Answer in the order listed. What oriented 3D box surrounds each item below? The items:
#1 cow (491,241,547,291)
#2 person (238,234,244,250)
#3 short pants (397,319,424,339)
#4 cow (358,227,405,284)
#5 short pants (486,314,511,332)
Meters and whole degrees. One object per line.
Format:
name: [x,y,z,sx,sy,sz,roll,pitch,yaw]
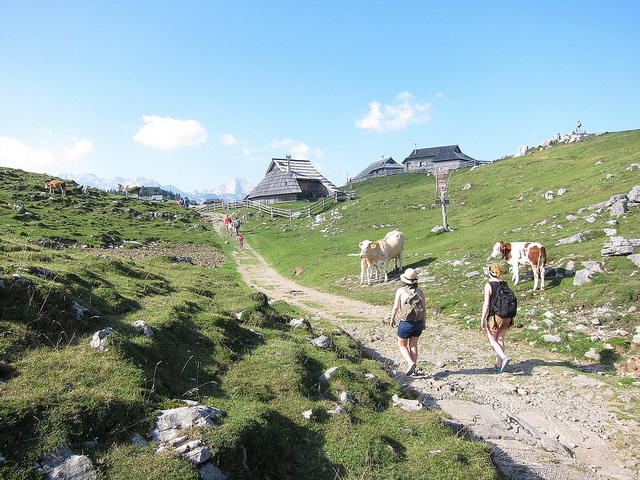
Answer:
cow: [10.787,1.261,26.602,1.096,2.559,3.191,-4,7,-30]
person: [-9.211,0.231,57.292,0.359,1.490,2.205,-5,7,-9]
short pants: [3.372,3.295,18.070,0.941,0.731,0.686,3,-1,-2]
cow: [4.615,1.143,34.674,1.852,3.461,4.584,2,9,36]
short pants: [6.722,3.161,18.466,0.591,0.769,0.839,24,-18,-36]
